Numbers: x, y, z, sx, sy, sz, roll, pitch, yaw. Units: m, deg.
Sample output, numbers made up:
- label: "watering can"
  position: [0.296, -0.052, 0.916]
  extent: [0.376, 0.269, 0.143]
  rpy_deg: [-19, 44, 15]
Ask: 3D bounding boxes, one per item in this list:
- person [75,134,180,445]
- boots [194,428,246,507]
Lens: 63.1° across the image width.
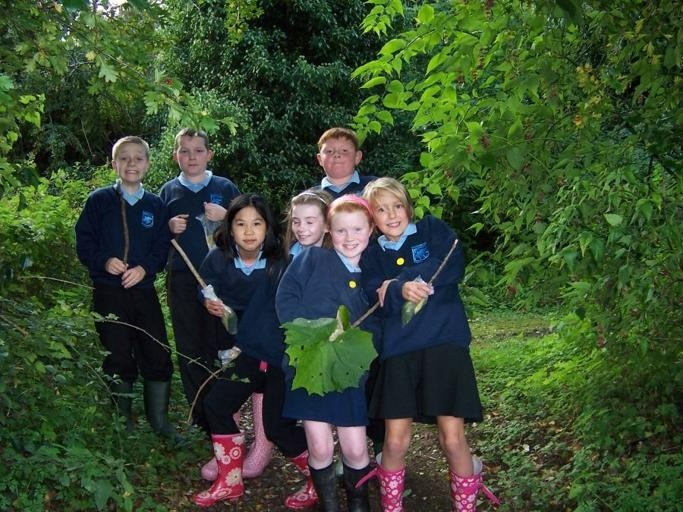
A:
- label: "person"
  position: [-1.600, 0.224, 4.127]
  extent: [0.678, 2.265, 0.472]
  rpy_deg: [0, 1, -26]
- label: "boots"
  position: [-0.789, 1.371, 3.621]
  extent: [0.326, 0.460, 0.153]
  rpy_deg: [0, 1, -18]
